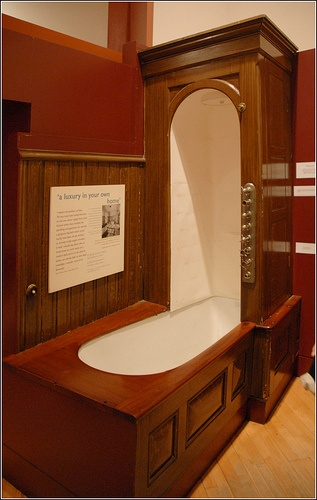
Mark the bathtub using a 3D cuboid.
[{"bbox_3d":[0.078,0.634,2.395,0.286,0.376,1.636,2,2,43],"label":"bathtub"}]
